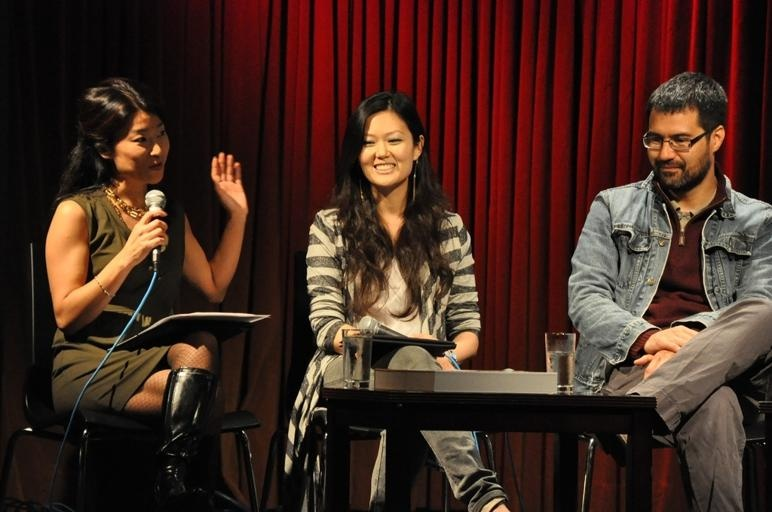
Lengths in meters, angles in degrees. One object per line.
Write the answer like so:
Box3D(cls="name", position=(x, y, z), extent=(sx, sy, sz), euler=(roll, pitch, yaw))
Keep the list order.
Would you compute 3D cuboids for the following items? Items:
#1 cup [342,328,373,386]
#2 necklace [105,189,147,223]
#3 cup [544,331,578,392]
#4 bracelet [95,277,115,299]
Box3D(cls="cup", position=(-0.106, 0.352, 2.815), extent=(0.122, 0.212, 0.123), euler=(1, 7, 0))
Box3D(cls="necklace", position=(-1.136, -0.213, 3.413), extent=(0.051, 0.155, 0.122), euler=(-46, -27, 24))
Box3D(cls="cup", position=(0.620, 0.379, 2.815), extent=(0.108, 0.208, 0.115), euler=(-1, -1, 0))
Box3D(cls="bracelet", position=(-1.117, 0.131, 3.166), extent=(0.083, 0.034, 0.067), euler=(32, -14, 39))
